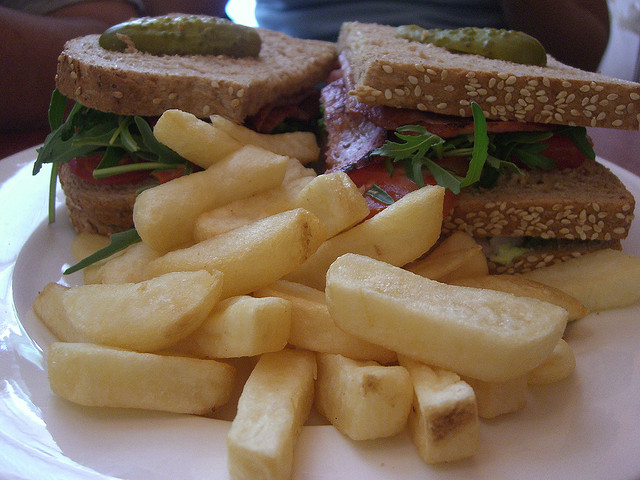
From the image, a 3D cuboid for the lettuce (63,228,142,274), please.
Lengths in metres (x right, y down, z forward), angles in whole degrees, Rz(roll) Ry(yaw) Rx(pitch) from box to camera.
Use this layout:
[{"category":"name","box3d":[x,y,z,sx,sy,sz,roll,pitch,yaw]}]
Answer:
[{"category":"lettuce","box3d":[-0.620,0.037,1.775,0.231,0.119,0.031,-9,43,-11]}]

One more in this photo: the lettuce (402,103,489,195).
[{"category":"lettuce","box3d":[0.342,-0.246,1.691,0.223,0.227,0.156,6,42,6]}]

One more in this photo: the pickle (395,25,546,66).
[{"category":"pickle","box3d":[0.511,-0.661,2.092,0.519,0.121,0.161,16,18,16]}]

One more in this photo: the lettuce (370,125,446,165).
[{"category":"lettuce","box3d":[0.256,-0.265,1.742,0.178,0.117,0.031,-9,7,8]}]

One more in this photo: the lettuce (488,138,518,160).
[{"category":"lettuce","box3d":[0.549,-0.262,1.848,0.063,0.020,0.062,-29,45,4]}]

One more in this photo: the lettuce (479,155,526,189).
[{"category":"lettuce","box3d":[0.532,-0.194,1.810,0.066,0.092,0.103,-6,20,-17]}]

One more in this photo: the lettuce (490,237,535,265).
[{"category":"lettuce","box3d":[0.558,0.033,1.852,0.095,0.053,0.060,-3,42,-4]}]
